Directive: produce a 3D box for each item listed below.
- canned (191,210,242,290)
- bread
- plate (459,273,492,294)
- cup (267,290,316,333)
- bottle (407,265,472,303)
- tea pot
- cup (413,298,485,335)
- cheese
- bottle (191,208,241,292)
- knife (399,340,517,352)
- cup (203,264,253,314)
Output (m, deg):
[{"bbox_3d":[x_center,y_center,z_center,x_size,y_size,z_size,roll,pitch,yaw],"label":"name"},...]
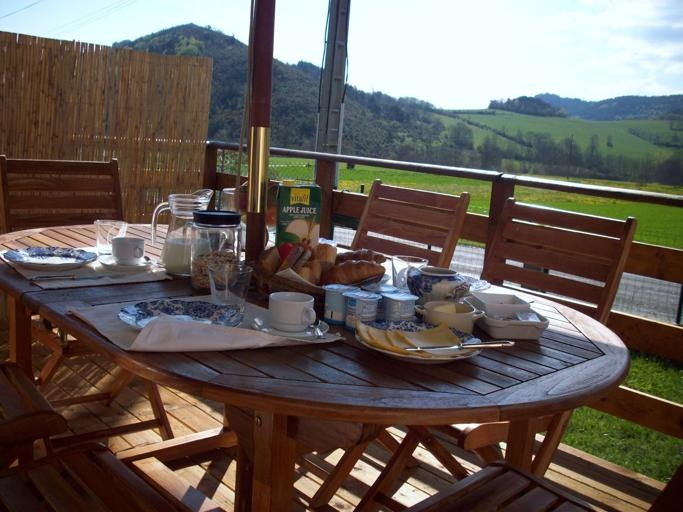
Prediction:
[{"bbox_3d":[-0.383,-0.012,1.369,0.160,0.218,0.159,2,1,-41],"label":"canned"},{"bbox_3d":[-0.062,-0.017,1.343,0.376,0.107,0.340,0,11,-31],"label":"bread"},{"bbox_3d":[0.422,0.072,1.492,0.086,0.011,0.085,-1,21,-44],"label":"plate"},{"bbox_3d":[-0.113,0.125,1.083,0.107,0.072,0.148,1,9,-15],"label":"cup"},{"bbox_3d":[0.256,0.089,1.242,0.166,0.099,0.137,0,8,4],"label":"bottle"},{"bbox_3d":[-0.490,-0.090,1.579,0.219,0.337,0.226,7,9,-1],"label":"tea pot"},{"bbox_3d":[0.250,0.125,1.101,0.116,0.048,0.085,1,4,5],"label":"cup"},{"bbox_3d":[0.130,0.150,1.034,0.219,0.059,0.182,-1,9,-32],"label":"cheese"},{"bbox_3d":[-0.358,-0.028,1.311,0.152,0.221,0.161,5,11,-1],"label":"bottle"},{"bbox_3d":[0.232,0.189,0.978,0.250,0.018,0.034,-2,17,1],"label":"knife"},{"bbox_3d":[-0.268,0.066,1.160,0.103,0.116,0.112,5,12,-1],"label":"cup"}]
